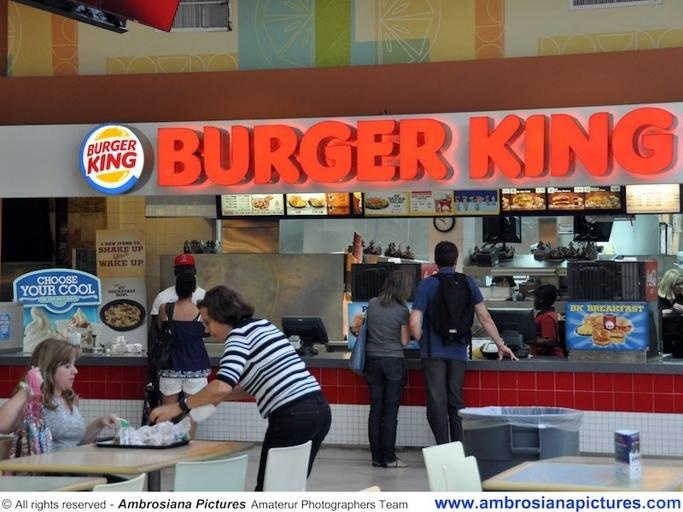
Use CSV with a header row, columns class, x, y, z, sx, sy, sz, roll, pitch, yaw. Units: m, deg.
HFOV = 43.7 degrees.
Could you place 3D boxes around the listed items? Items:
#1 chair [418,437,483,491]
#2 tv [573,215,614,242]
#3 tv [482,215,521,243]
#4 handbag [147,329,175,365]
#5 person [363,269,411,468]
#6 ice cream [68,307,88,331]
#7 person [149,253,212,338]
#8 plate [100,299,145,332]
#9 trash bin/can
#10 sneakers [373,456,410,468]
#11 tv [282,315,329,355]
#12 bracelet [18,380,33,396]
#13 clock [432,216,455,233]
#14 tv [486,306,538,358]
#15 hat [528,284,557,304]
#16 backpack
class,x,y,z,sx,sy,sz,roll,pitch,yaw
chair,0.664,1.249,4.973,0.396,0.270,0.252,-2,3,-35
tv,3.454,-0.357,11.661,0.498,0.355,0.604,1,3,15
tv,2.327,-0.417,12.271,0.726,0.374,0.516,5,10,22
handbag,-1.589,0.801,7.500,0.112,0.294,0.211,11,-8,-21
person,0.425,1.021,7.753,0.401,1.761,0.239,0,2,1
ice cream,-2.768,0.678,8.999,0.189,0.196,0.187,-4,-7,11
person,-1.510,0.552,8.014,0.548,1.240,0.386,-1,18,-14
plate,-2.771,0.750,10.791,0.552,0.404,0.179,0,3,-14
trash bin/can,1.244,1.341,5.974,0.665,0.238,0.521,-1,-3,-1
sneakers,0.457,1.846,7.728,0.293,0.102,0.109,0,-3,2
tv,-0.360,0.776,8.521,0.395,0.368,0.222,-3,5,22
bracelet,-2.071,0.862,5.577,0.069,0.087,0.033,-14,0,3
clock,1.530,-0.446,12.528,0.366,0.216,0.088,2,3,30
tv,1.606,0.722,8.024,0.511,0.543,0.272,-1,2,8
hat,2.125,0.392,8.917,0.187,0.138,0.241,-10,22,-30
backpack,1.033,0.470,7.725,0.483,0.666,0.399,4,-11,-13
